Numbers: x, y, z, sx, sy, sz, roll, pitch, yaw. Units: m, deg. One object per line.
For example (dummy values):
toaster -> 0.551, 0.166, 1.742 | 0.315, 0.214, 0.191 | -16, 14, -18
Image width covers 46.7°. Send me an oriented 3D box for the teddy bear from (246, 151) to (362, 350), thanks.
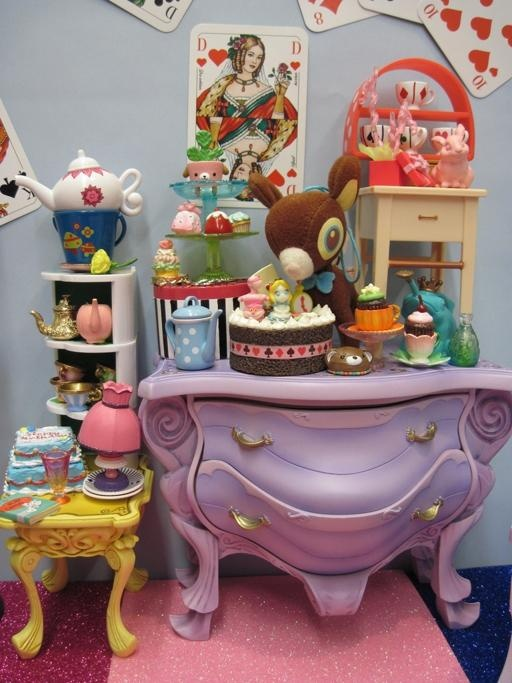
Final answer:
teddy bear -> 0.127, -0.227, 1.537 | 0.298, 0.476, 0.214 | 0, 10, -3
